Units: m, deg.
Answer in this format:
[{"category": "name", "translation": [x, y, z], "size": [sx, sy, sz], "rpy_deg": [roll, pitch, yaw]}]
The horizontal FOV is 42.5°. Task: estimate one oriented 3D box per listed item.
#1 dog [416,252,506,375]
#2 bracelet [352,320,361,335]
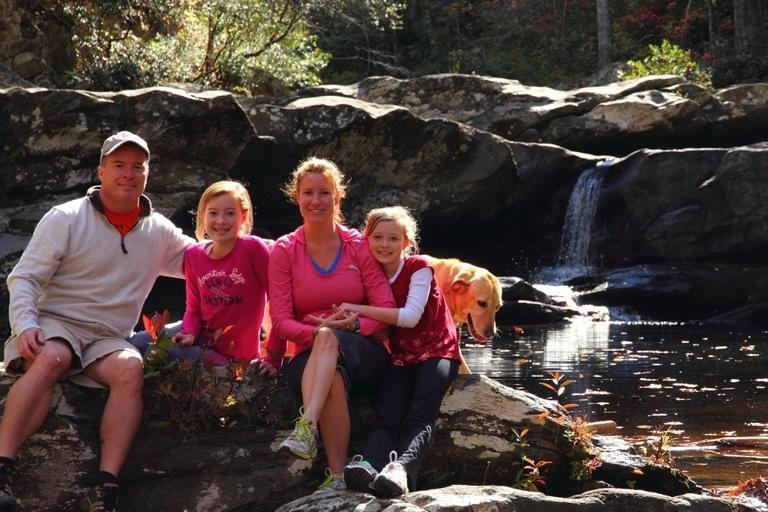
[{"category": "dog", "translation": [1.118, 0.813, 16.657], "size": [0.898, 1.751, 2.784], "rpy_deg": [-1, 17, -25]}, {"category": "bracelet", "translation": [-0.386, 1.008, 14.209], "size": [0.086, 0.141, 0.190], "rpy_deg": [5, 32, 3]}]
